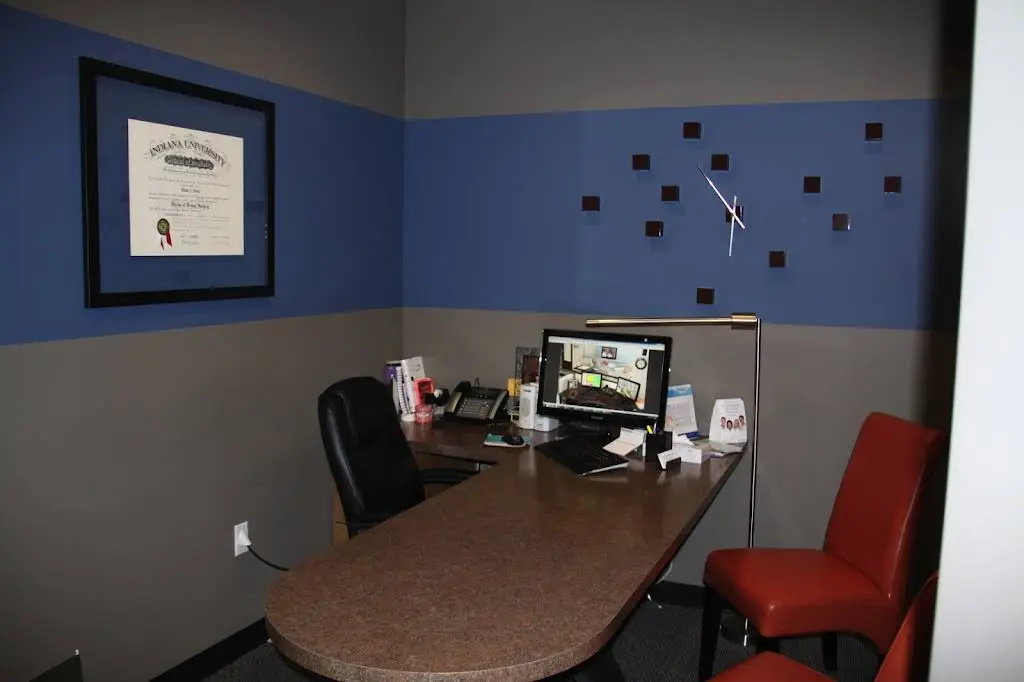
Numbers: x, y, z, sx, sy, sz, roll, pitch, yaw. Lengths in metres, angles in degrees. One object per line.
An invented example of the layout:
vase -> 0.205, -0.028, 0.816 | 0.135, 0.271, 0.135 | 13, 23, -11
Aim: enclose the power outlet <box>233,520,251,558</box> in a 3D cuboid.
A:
power outlet -> -1.384, 1.019, 3.600 | 0.038, 0.173, 0.110 | 9, 16, 32
